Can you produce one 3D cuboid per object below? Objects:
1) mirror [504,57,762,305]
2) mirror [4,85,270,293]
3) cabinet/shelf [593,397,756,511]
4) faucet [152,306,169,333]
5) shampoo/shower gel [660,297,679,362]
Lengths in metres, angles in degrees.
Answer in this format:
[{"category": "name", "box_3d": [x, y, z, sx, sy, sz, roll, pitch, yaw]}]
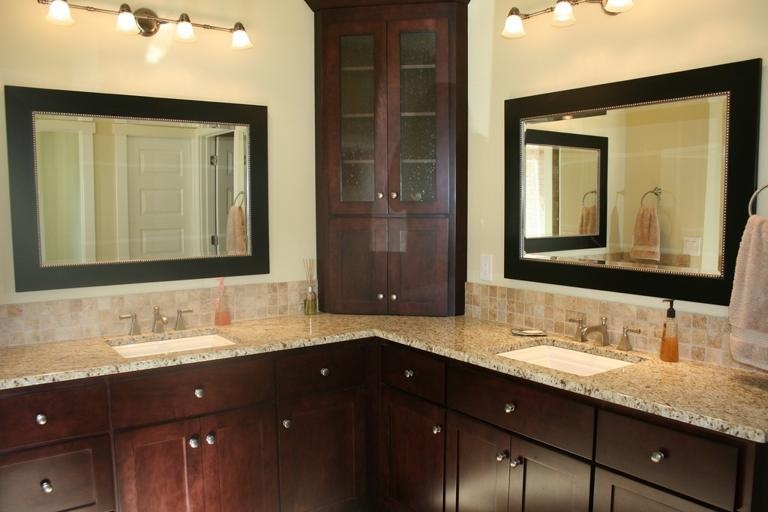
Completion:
[{"category": "mirror", "box_3d": [1.329, -0.391, 3.093, 1.374, 1.227, 0.098, 2, 2, 43]}, {"category": "mirror", "box_3d": [-1.479, -0.392, 3.437, 1.241, 0.957, 0.029, -2, 5, -28]}, {"category": "cabinet/shelf", "box_3d": [1.194, 0.815, 2.511, 0.352, 0.166, 0.333, 6, 6, 41]}, {"category": "faucet", "box_3d": [-1.317, 0.367, 3.506, 0.081, 0.147, 0.112, -3, 7, -15]}, {"category": "shampoo/shower gel", "box_3d": [1.435, 0.364, 2.999, 0.091, 0.304, 0.147, 2, 8, 26]}]
